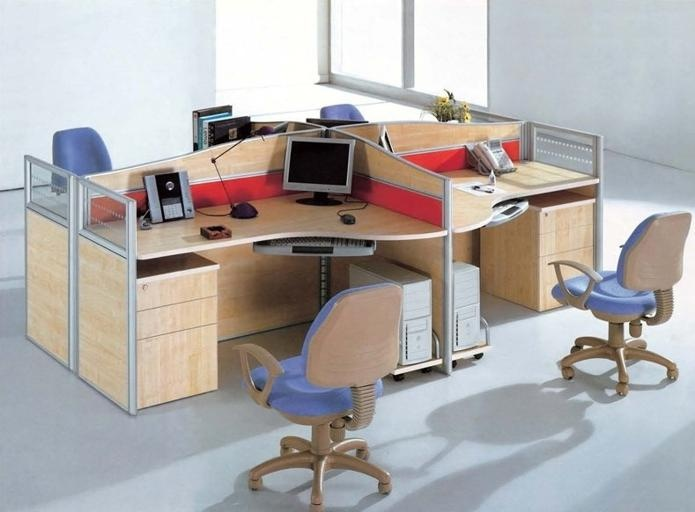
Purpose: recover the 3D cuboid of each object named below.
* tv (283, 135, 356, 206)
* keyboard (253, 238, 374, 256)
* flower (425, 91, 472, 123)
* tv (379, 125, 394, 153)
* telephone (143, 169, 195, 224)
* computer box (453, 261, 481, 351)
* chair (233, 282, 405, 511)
[{"bbox_3d":[-0.186,-0.600,4.452,0.494,0.426,0.232,7,16,21],"label":"tv"},{"bbox_3d":[-0.207,-0.044,3.971,0.735,0.137,0.219,-1,15,4],"label":"keyboard"},{"bbox_3d":[1.105,-1.583,6.901,0.433,0.274,0.442,2,1,20],"label":"flower"},{"bbox_3d":[0.288,-0.899,4.896,0.057,0.199,0.226,-9,-13,18],"label":"tv"},{"bbox_3d":[-1.143,-0.400,4.211,0.330,0.269,0.312,-9,10,7],"label":"telephone"},{"bbox_3d":[0.771,0.324,4.192,0.230,0.574,0.157,-5,16,-10],"label":"computer box"},{"bbox_3d":[-0.140,0.746,3.198,0.792,1.098,0.786,-10,24,-36],"label":"chair"}]
